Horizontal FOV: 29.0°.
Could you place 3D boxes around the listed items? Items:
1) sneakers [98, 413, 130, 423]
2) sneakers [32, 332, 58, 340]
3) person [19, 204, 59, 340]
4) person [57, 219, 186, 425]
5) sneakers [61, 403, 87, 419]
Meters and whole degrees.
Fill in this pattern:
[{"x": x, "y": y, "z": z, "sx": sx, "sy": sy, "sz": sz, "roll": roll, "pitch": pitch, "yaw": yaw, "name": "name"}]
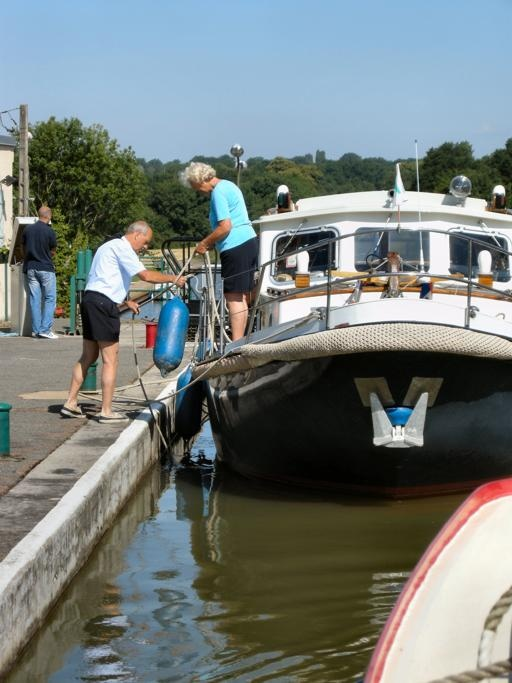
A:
[{"x": -1.024, "y": 0.558, "z": 7.118, "sx": 0.182, "sy": 0.053, "sz": 0.086, "roll": -1, "pitch": 1, "yaw": -11, "name": "sneakers"}, {"x": -2.990, "y": -0.086, "z": 14.216, "sx": 0.407, "sy": 0.141, "sz": 0.125, "roll": -1, "pitch": 6, "yaw": -6, "name": "sneakers"}, {"x": -3.077, "y": -0.975, "z": 14.156, "sx": 0.495, "sy": 1.870, "sz": 0.684, "roll": 0, "pitch": 9, "yaw": -12, "name": "person"}, {"x": -1.013, "y": -0.128, "z": 7.179, "sx": 0.767, "sy": 1.474, "sz": 0.761, "roll": 0, "pitch": 9, "yaw": -10, "name": "person"}, {"x": -1.312, "y": 0.525, "z": 7.307, "sx": 0.224, "sy": 0.084, "sz": 0.074, "roll": 4, "pitch": 8, "yaw": -17, "name": "sneakers"}]
